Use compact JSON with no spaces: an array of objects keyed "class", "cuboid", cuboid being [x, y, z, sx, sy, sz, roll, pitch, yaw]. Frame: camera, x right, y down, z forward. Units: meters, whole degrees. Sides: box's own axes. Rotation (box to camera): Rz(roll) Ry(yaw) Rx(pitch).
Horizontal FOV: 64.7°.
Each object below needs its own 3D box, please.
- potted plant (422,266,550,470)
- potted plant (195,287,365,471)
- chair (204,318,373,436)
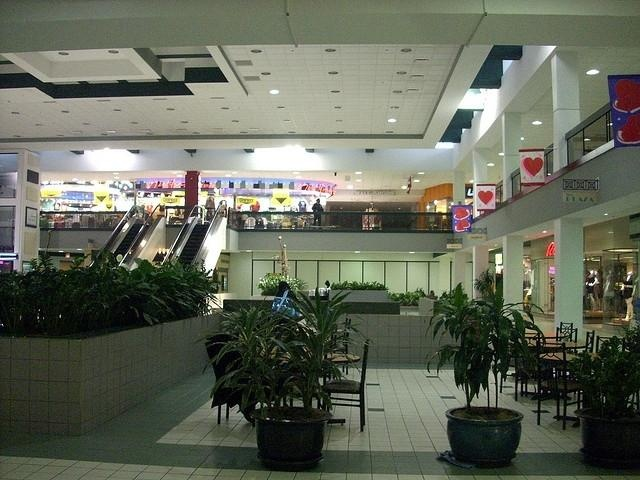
[{"class":"potted plant","cuboid":[1.970,1.348,6.185,1.258,1.725,3.547,0,-3,17]},{"class":"potted plant","cuboid":[-0.427,1.301,5.192,1.224,1.607,1.535,2,-3,-10]},{"class":"chair","cuboid":[-0.125,1.614,6.227,1.877,0.994,1.707,0,-1,5]}]
